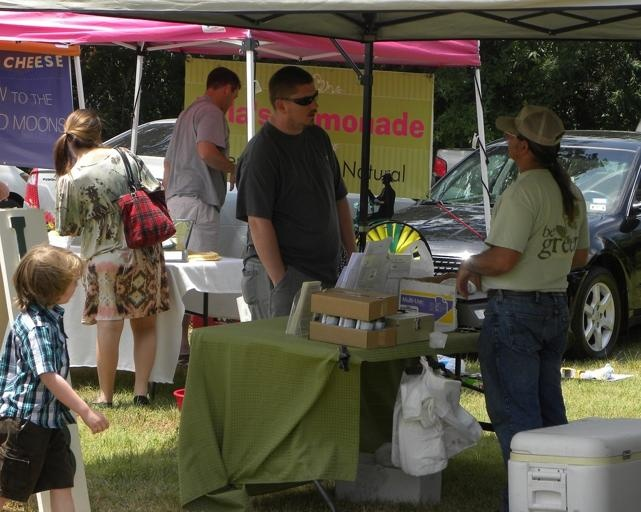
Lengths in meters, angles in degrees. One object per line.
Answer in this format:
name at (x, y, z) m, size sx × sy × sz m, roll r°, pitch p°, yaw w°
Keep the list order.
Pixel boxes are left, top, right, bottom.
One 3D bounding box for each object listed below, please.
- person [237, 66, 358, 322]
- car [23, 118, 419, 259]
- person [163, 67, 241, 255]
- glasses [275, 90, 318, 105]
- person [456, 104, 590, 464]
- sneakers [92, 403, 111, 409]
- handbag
person at (-0.172, -0.337, 4.345) m, size 0.585 × 1.408 × 0.353 m, roll -1°, pitch 6°, yaw -7°
car at (-1.803, -1.070, 9.797) m, size 4.704 × 1.791 × 2.202 m, roll -3°, pitch 1°, yaw 11°
person at (-0.980, -0.809, 6.487) m, size 0.632 × 1.537 × 0.508 m, roll -2°, pitch 6°, yaw -11°
glasses at (-0.108, -0.862, 4.251) m, size 0.217 × 0.091 × 0.107 m, roll -2°, pitch 6°, yaw -16°
person at (0.912, 0.129, 3.576) m, size 0.515 × 1.602 × 0.347 m, roll 1°, pitch 6°, yaw 15°
sneakers at (-1.575, 1.074, 5.635) m, size 0.131 × 0.038 × 0.050 m, roll 6°, pitch -1°, yaw 29°
handbag at (-1.179, -0.280, 5.353) m, size 0.325 × 0.405 × 0.151 m, roll -10°, pitch -24°, yaw -26°
